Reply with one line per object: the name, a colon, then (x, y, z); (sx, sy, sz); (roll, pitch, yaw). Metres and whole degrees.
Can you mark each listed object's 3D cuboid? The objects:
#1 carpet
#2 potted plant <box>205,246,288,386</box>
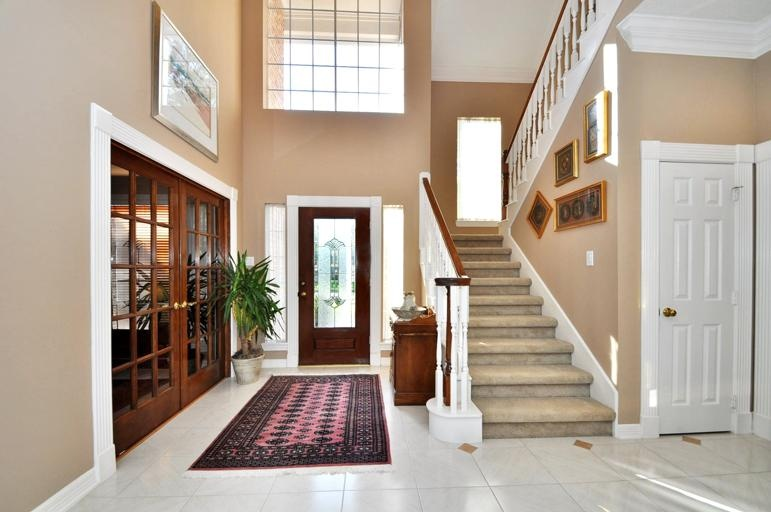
carpet: (-0.872, 1.744, 5.568); (1.789, 0.382, 1.819); (-4, -3, -1)
potted plant: (-1.685, 0.746, 6.549); (0.753, 1.663, 1.064); (-4, -2, 4)
